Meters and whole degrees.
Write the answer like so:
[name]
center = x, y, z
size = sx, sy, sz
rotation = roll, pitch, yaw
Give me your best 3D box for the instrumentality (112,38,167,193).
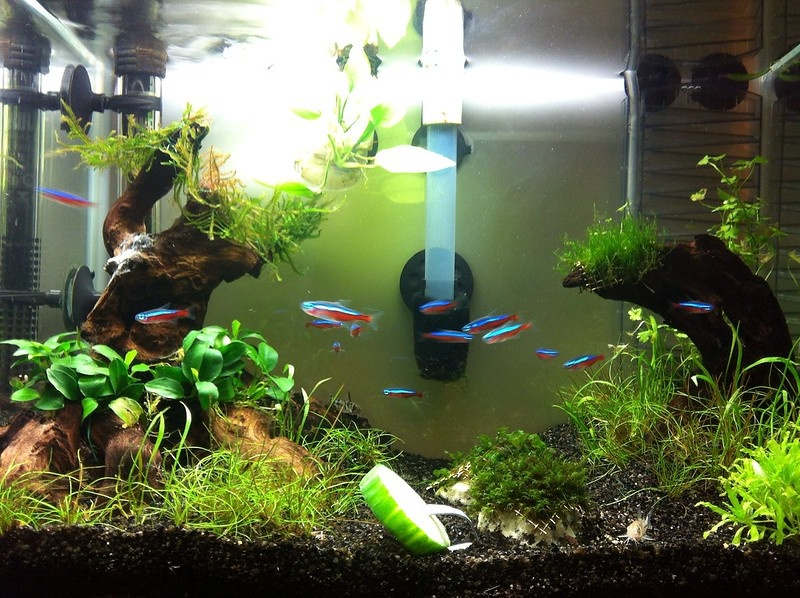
[instrumentality]
center = -1.477, -0.969, 4.213
size = 0.292, 0.892, 0.283
rotation = 0, 4, -21
